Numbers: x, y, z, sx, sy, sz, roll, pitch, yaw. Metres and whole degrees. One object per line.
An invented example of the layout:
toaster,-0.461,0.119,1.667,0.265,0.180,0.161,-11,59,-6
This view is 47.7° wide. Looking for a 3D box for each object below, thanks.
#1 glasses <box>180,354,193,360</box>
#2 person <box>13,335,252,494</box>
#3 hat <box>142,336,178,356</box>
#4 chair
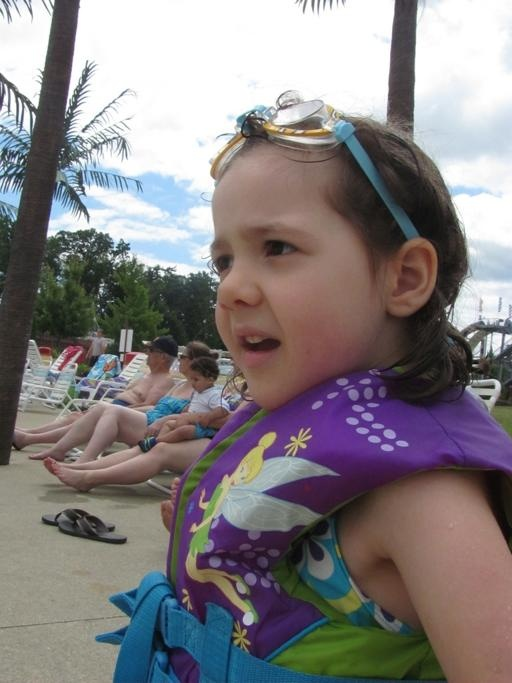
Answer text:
glasses,-0.701,0.158,5.867,0.096,0.025,0.085,8,2,-8
person,-0.694,0.811,5.250,2.430,1.165,0.971,-2,10,-39
hat,-1.129,0.036,6.880,0.345,0.161,0.226,22,9,0
chair,-0.254,0.959,5.053,2.898,1.054,1.367,-13,10,-9
